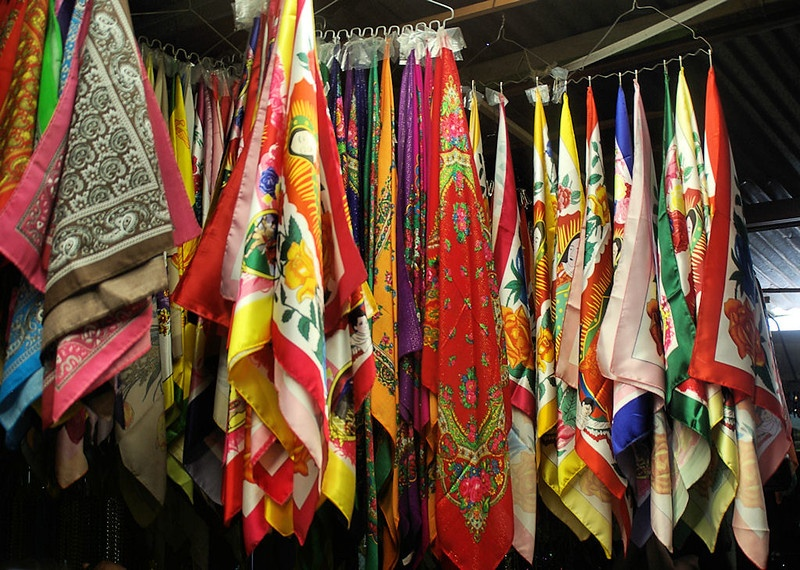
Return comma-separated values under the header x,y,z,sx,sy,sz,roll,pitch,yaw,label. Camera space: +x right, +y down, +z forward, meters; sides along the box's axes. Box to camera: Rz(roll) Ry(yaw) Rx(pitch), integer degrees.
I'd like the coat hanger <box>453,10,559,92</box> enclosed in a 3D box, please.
x,y,z,sx,sy,sz,roll,pitch,yaw,label
0.277,-0.577,1.943,0.170,0.201,0.010,-23,-8,-5,coat hanger
